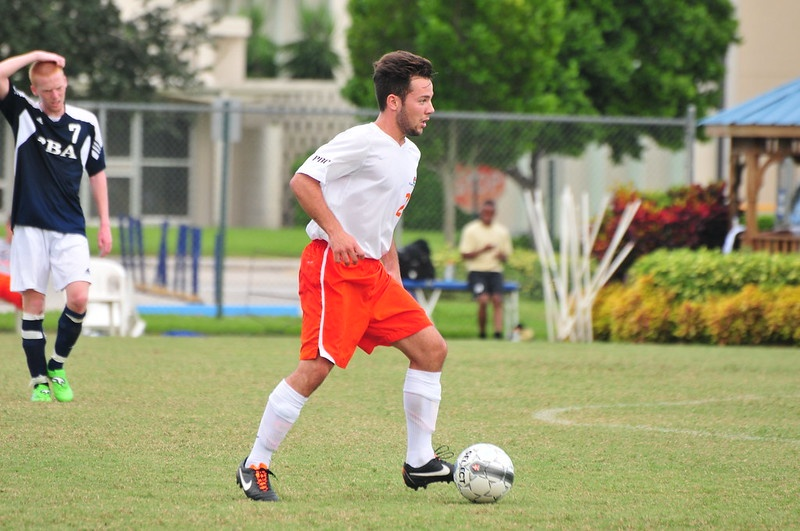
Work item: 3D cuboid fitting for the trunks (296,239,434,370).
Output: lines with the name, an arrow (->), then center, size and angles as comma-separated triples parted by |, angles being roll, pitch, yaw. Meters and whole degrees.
trunks -> -0.400, 0.309, 13.233 | 1.454, 1.112, 0.700 | 0, -4, -41

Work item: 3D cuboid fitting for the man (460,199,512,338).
man -> 1.146, 0.052, 19.791 | 0.613, 1.746, 0.929 | -2, 13, -12

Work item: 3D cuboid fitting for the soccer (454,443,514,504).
soccer -> 0.711, 1.747, 13.016 | 0.499, 0.428, 0.288 | 2, 13, 7

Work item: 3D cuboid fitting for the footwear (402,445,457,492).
footwear -> 0.339, 1.740, 13.241 | 0.632, 0.299, 0.204 | -9, 8, -13

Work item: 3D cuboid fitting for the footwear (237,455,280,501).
footwear -> -1.228, 1.789, 12.920 | 0.214, 0.245, 0.564 | 6, 20, -38

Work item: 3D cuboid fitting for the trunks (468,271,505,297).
trunks -> 1.119, 0.245, 19.760 | 0.549, 0.355, 0.296 | 0, -15, -1

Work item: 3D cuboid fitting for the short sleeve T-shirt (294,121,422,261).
short sleeve T-shirt -> -0.246, -0.636, 13.255 | 0.726, 1.014, 1.272 | 16, 4, 41

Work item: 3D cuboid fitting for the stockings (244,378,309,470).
stockings -> -1.064, 1.319, 12.911 | 0.512, 0.703, 0.205 | -1, 13, -8

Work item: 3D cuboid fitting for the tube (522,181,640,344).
tube -> 2.197, 0.004, 19.058 | 1.341, 1.865, 0.681 | 2, 13, 5
